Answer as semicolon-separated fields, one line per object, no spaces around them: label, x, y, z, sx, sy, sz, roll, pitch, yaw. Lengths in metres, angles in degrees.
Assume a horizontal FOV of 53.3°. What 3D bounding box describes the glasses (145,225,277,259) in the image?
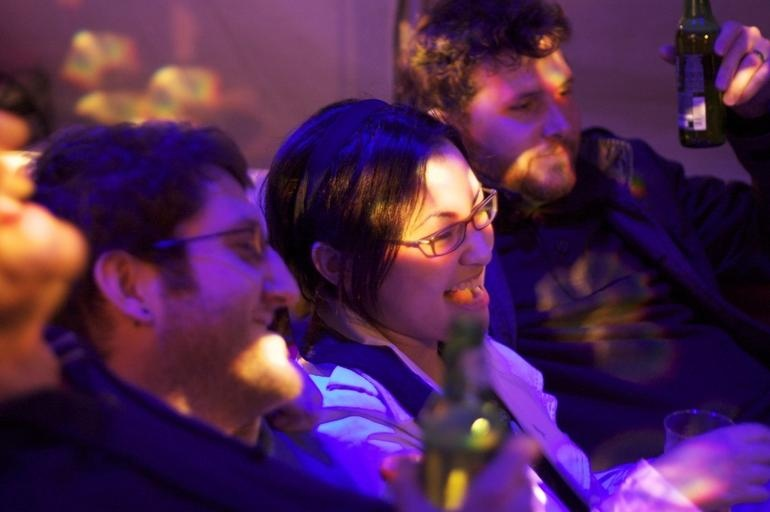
glasses;-0.312;-0.017;1.373;0.202;0.049;0.044;-9;26;-23

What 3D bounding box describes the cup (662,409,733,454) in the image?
cup;0.719;0.380;1.784;0.120;0.096;0.111;0;26;0

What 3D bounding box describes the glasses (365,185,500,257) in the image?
glasses;0.151;-0.064;1.704;0.162;0.048;0.175;12;46;40

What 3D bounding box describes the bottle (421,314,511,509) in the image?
bottle;0.135;0.281;1.367;0.155;0.468;0.161;-1;17;0
